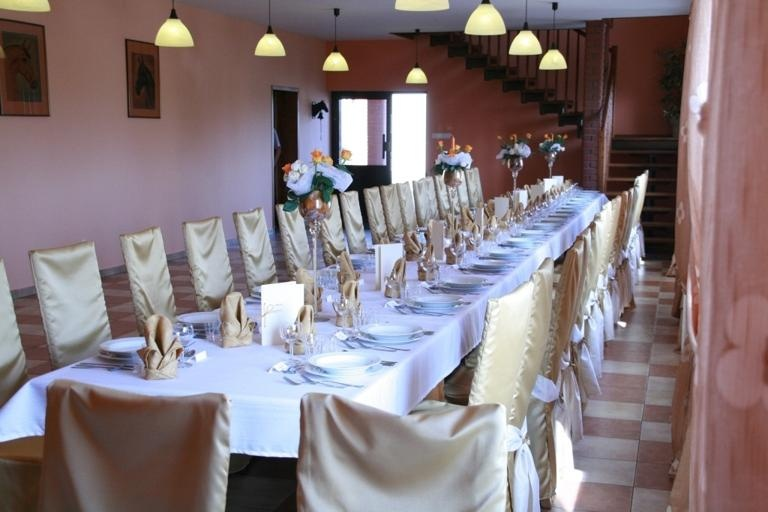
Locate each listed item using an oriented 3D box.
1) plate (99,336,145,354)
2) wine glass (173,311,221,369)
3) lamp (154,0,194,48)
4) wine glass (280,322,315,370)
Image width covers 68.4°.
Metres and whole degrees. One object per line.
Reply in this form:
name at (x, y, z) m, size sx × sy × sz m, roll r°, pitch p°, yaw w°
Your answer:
plate at (-1.047, 0.358, 2.267) m, size 0.104 × 0.016 × 0.112 m, roll 2°, pitch 12°, yaw 10°
wine glass at (-0.789, 0.330, 2.402) m, size 0.178 × 0.220 × 0.179 m, roll -9°, pitch 18°, yaw -36°
lamp at (-1.782, -1.959, 4.819) m, size 0.281 × 0.295 × 0.227 m, roll 7°, pitch 14°, yaw 33°
wine glass at (-0.330, 0.330, 2.162) m, size 0.134 × 0.233 × 0.136 m, roll -4°, pitch 13°, yaw -24°
